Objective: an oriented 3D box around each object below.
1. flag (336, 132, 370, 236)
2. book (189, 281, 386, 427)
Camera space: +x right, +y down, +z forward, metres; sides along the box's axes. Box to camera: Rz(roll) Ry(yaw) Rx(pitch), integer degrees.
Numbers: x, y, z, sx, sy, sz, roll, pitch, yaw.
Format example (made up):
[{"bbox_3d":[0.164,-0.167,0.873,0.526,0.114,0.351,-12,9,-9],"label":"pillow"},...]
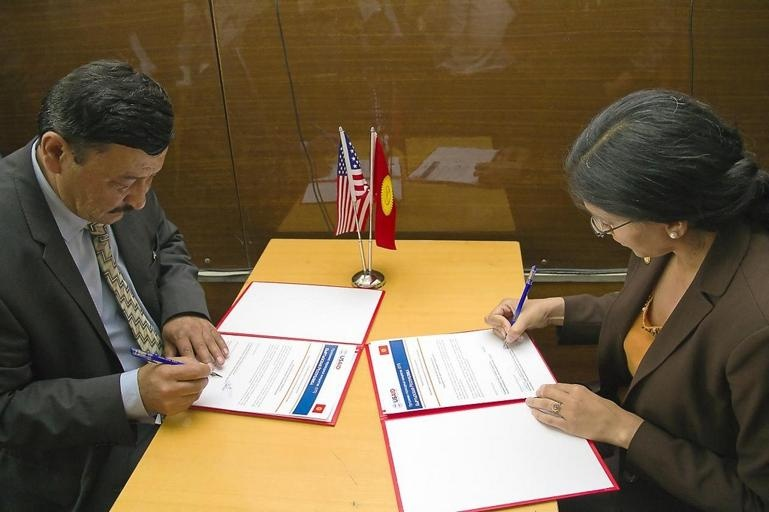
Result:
[{"bbox_3d":[-0.128,-0.287,2.492,0.133,0.456,0.136,0,28,2],"label":"flag"},{"bbox_3d":[-0.354,0.294,2.182,0.451,0.020,0.492,5,39,11],"label":"book"}]
